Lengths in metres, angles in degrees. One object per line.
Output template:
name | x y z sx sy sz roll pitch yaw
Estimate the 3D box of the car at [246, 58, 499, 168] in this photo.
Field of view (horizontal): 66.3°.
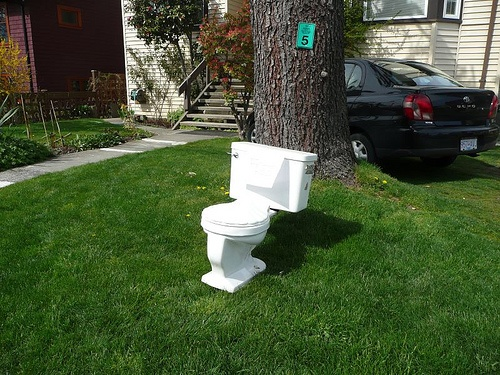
car | 2.573 -1.177 5.938 1.393 1.158 2.791 -17 27 -35
